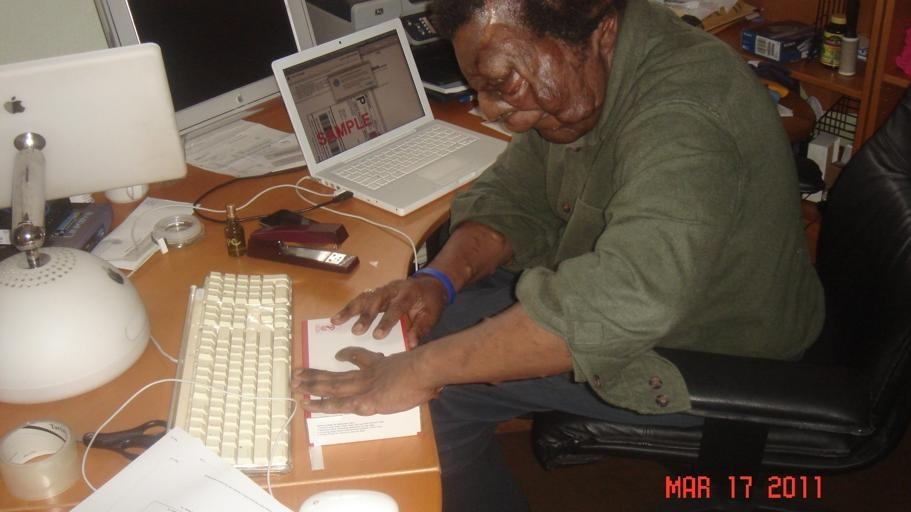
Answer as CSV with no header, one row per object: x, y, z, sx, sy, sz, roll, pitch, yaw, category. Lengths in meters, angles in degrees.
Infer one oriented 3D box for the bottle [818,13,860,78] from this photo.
1.641,-0.878,3.038,0.138,0.269,0.178,4,4,31,bottle

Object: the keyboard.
-0.521,0.258,1.734,0.258,0.071,0.507,-4,49,-10,keyboard

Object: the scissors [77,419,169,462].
-0.762,0.422,1.612,0.192,0.045,0.081,-6,35,-6,scissors
